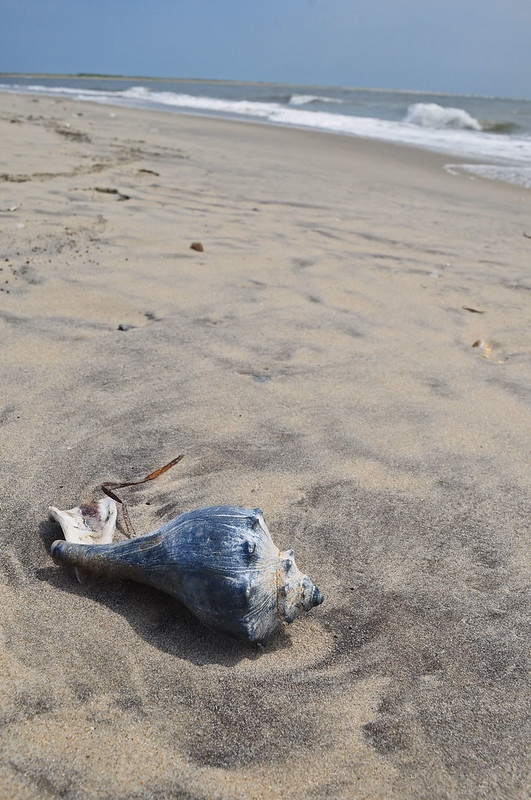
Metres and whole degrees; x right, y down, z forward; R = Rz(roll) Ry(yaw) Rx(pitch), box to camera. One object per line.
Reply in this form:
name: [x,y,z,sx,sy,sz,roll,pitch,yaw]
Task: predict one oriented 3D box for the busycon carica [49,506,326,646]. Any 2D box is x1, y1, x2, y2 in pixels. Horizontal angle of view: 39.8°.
busycon carica: [-0.291,0.502,2.765,0.924,0.447,0.451,13,5,9]
